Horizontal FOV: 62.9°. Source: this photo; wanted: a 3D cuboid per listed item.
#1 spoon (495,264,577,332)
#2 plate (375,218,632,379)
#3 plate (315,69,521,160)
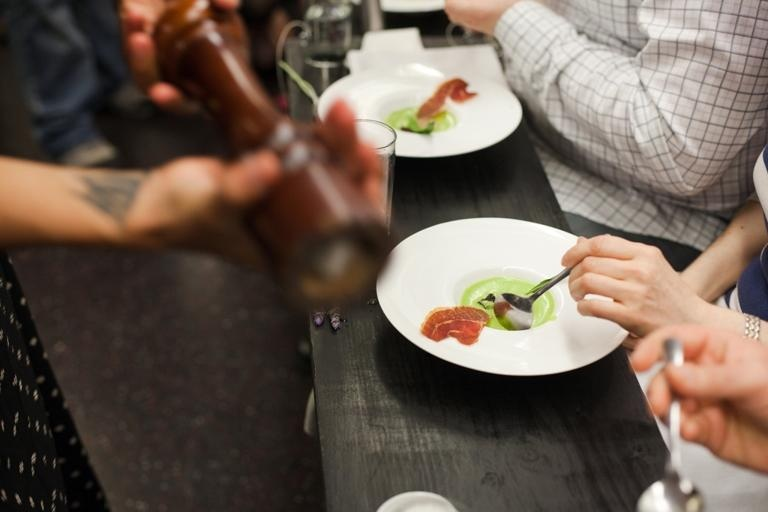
[{"bbox_3d":[0.262,0.046,1.042,0.098,0.095,0.038,7,61,-35],"label":"spoon"},{"bbox_3d":[0.182,0.064,0.997,0.270,0.058,0.282,20,42,24],"label":"plate"},{"bbox_3d":[0.083,-0.324,1.387,0.350,0.060,0.370,9,39,10],"label":"plate"}]
